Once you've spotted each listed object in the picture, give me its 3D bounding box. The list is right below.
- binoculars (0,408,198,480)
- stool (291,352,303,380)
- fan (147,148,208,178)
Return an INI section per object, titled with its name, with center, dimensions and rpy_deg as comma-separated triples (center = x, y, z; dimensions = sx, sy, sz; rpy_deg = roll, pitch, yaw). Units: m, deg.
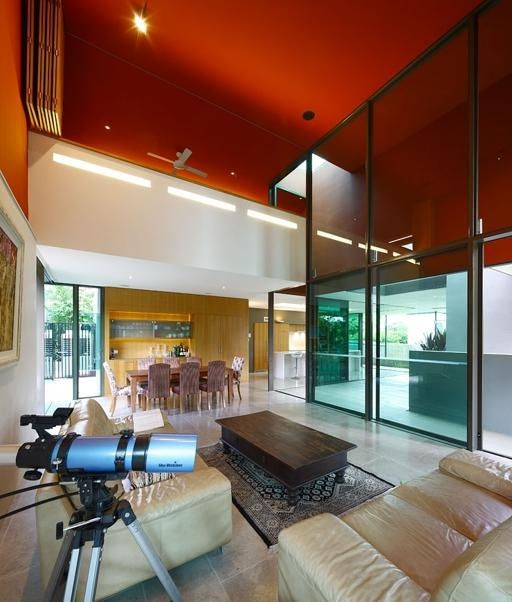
[binoculars]
center = -0.552, 0.543, 1.492
dimensions = 0.632, 0.282, 0.138
rpy_deg = -1, 0, -9
[stool]
center = 1.048, 1.624, 9.756
dimensions = 0.315, 0.479, 0.579
rpy_deg = -1, 0, 6
[fan]
center = -1.181, -2.035, 5.664
dimensions = 0.639, 0.120, 0.642
rpy_deg = 12, -12, -32
